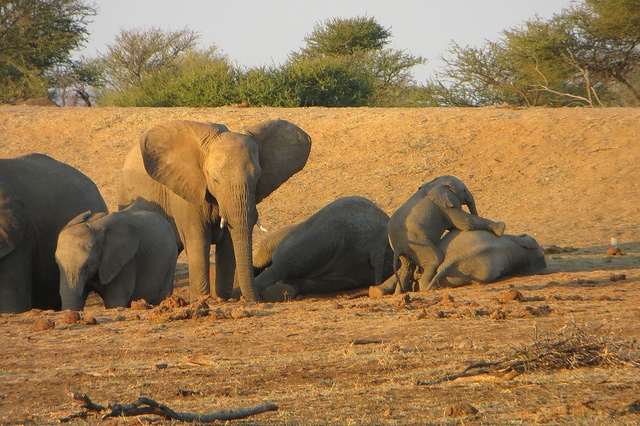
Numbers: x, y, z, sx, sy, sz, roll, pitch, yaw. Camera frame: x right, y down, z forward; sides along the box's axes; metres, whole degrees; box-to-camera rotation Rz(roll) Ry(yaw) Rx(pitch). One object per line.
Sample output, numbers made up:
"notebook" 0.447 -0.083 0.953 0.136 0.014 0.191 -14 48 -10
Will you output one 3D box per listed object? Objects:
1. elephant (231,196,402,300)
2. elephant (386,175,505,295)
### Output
"elephant" -0.131 0.819 21.082 3.590 1.938 1.190 -7 9 22
"elephant" 2.388 0.308 20.175 2.608 1.959 1.579 -21 18 -28
